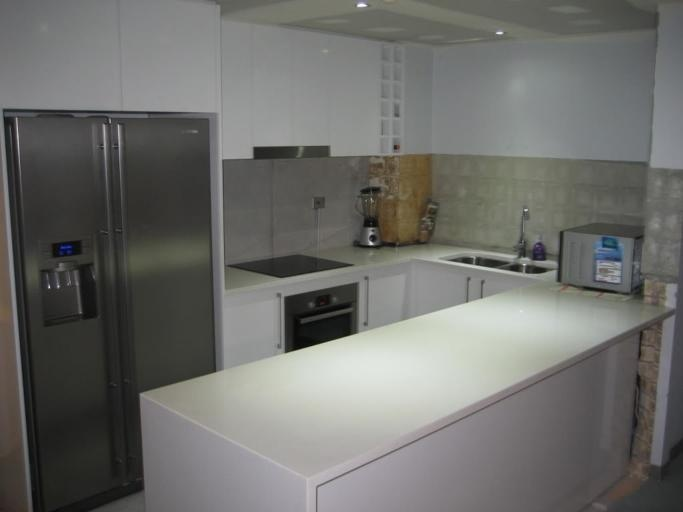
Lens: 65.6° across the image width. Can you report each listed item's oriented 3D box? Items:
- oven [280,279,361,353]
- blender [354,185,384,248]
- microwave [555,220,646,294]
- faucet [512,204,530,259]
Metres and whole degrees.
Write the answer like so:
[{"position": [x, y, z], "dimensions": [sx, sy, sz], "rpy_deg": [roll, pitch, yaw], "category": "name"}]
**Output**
[{"position": [-0.171, 0.466, 4.165], "dimensions": [0.395, 0.532, 0.491], "rpy_deg": [11, 14, 39], "category": "oven"}, {"position": [0.282, -0.361, 5.114], "dimensions": [0.274, 0.521, 0.257], "rpy_deg": [-7, 13, -39], "category": "blender"}, {"position": [1.738, -0.002, 3.575], "dimensions": [0.459, 0.385, 0.485], "rpy_deg": [7, 13, 40], "category": "microwave"}, {"position": [1.590, -0.207, 4.664], "dimensions": [0.106, 0.441, 0.225], "rpy_deg": [5, 13, 20], "category": "faucet"}]
